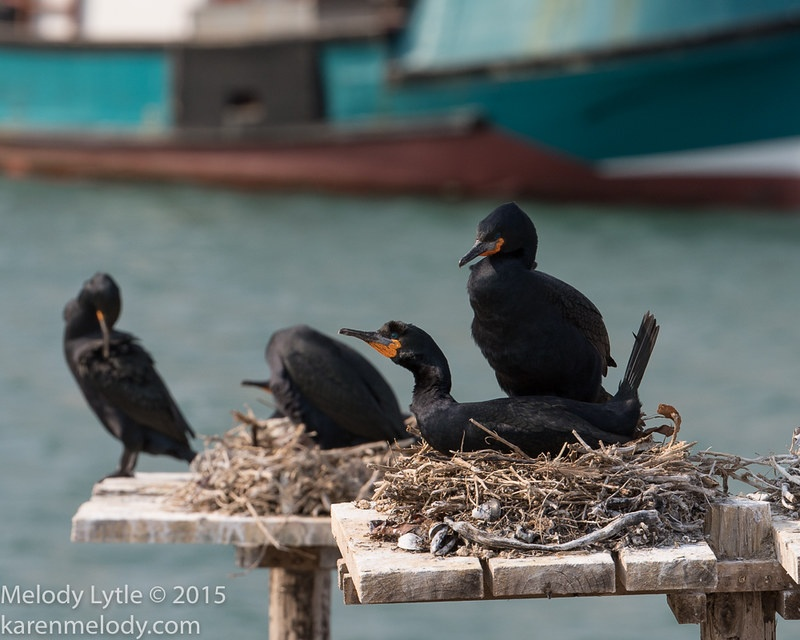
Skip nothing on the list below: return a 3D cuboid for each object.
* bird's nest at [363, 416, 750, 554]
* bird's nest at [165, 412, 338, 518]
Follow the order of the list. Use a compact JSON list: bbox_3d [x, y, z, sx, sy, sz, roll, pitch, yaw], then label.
[{"bbox_3d":[0.931,1.098,9.720,1.982,0.330,1.550,-10,-5,1],"label":"bird's nest"},{"bbox_3d":[-1.045,1.020,11.466,1.001,0.577,1.013,4,17,21],"label":"bird's nest"}]
